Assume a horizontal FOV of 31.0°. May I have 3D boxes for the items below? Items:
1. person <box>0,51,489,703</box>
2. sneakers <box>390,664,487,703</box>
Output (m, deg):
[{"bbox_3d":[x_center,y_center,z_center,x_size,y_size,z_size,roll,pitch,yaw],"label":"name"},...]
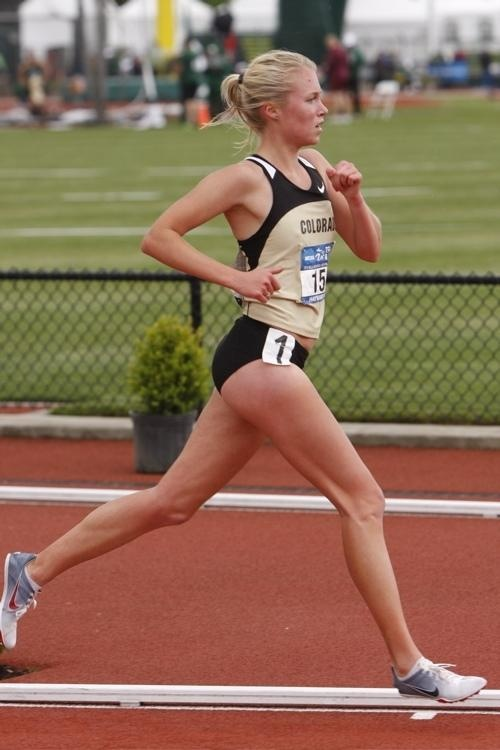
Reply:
[{"bbox_3d":[0.005,-0.011,2.372,1.243,1.644,0.421,2,8,12],"label":"person"},{"bbox_3d":[0.466,0.765,2.303,0.281,0.106,0.091,1,7,7],"label":"sneakers"}]
